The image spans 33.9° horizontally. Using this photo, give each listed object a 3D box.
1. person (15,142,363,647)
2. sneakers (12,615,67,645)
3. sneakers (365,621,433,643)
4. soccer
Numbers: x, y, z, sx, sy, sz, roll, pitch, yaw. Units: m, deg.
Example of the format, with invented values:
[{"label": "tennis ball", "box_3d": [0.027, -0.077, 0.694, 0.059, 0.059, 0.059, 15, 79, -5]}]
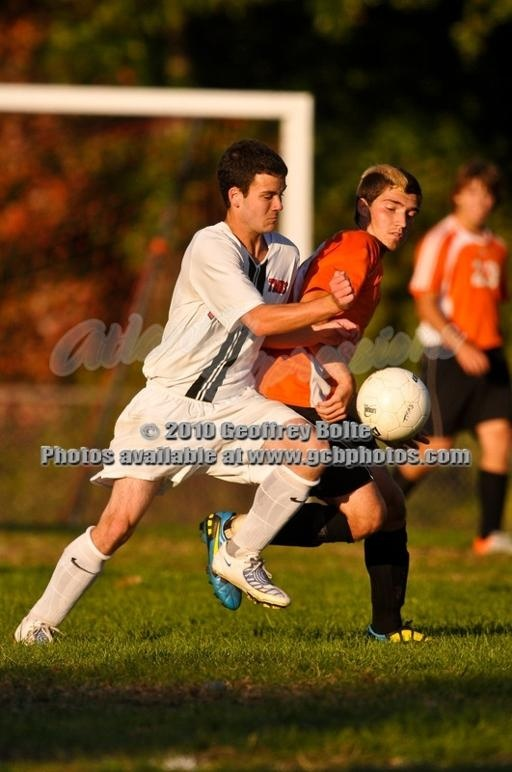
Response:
[{"label": "person", "box_3d": [-0.134, 0.081, 3.134, 0.883, 1.817, 1.095, 17, 32, 24]}, {"label": "sneakers", "box_3d": [-0.834, 0.947, 3.224, 0.159, 0.092, 0.088, -12, 4, 5]}, {"label": "sneakers", "box_3d": [0.556, 0.945, 3.262, 0.226, 0.086, 0.078, -1, -14, 26]}, {"label": "soccer", "box_3d": [0.515, 0.092, 3.191, 0.271, 0.284, 0.224, 2, 28, -1]}]
